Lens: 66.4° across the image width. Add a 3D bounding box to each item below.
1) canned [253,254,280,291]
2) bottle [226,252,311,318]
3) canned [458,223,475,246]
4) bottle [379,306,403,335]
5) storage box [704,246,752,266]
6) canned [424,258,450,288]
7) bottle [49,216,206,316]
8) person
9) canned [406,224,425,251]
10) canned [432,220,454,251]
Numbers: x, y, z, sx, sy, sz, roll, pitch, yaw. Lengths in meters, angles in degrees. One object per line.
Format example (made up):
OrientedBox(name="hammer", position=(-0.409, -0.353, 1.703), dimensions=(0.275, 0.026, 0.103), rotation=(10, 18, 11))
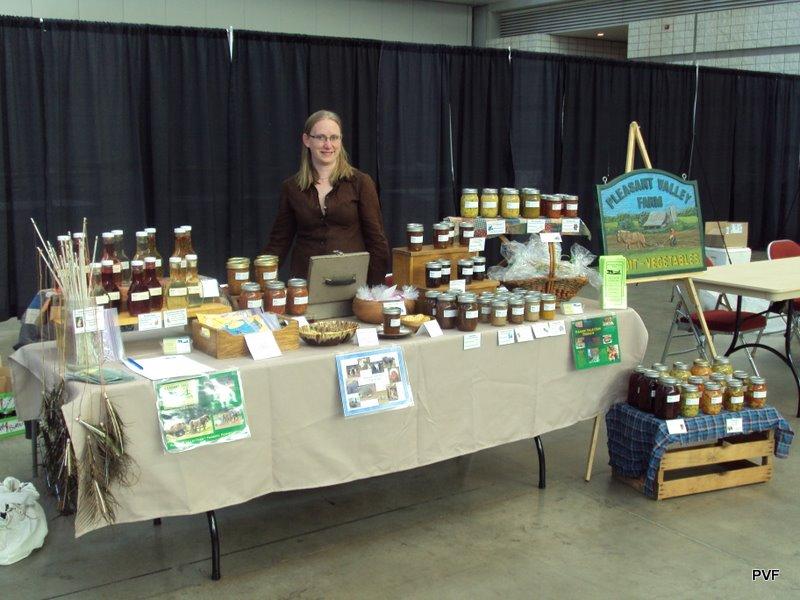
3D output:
OrientedBox(name="canned", position=(-0.632, -0.143, 2.945), dimensions=(0.163, 0.165, 0.152), rotation=(-3, 12, -24))
OrientedBox(name="bottle", position=(-0.666, -0.058, 2.897), dimensions=(0.312, 0.202, 0.321), rotation=(1, 7, 0))
OrientedBox(name="canned", position=(0.346, -0.346, 3.209), dimensions=(0.080, 0.125, 0.065), rotation=(3, 13, 11))
OrientedBox(name="bottle", position=(-0.043, 0.098, 2.872), dimensions=(0.107, 0.174, 0.111), rotation=(0, 12, 0))
OrientedBox(name="storage box", position=(3.851, -0.514, 7.172), dimensions=(0.431, 0.292, 0.451), rotation=(-6, 11, -28))
OrientedBox(name="canned", position=(0.188, -0.136, 3.060), dimensions=(0.130, 0.130, 0.127), rotation=(5, 11, 26))
OrientedBox(name="bottle", position=(-1.088, -0.097, 2.592), dimensions=(0.620, 0.390, 0.283), rotation=(-7, 15, -28))
OrientedBox(name="person", position=(-0.454, -0.334, 3.659), dimensions=(0.739, 1.444, 0.505), rotation=(-2, 20, -3))
OrientedBox(name="canned", position=(0.075, -0.334, 3.203), dimensions=(0.081, 0.124, 0.150), rotation=(0, 13, -2))
OrientedBox(name="canned", position=(0.214, -0.334, 3.261), dimensions=(0.128, 0.138, 0.130), rotation=(0, 11, -1))
